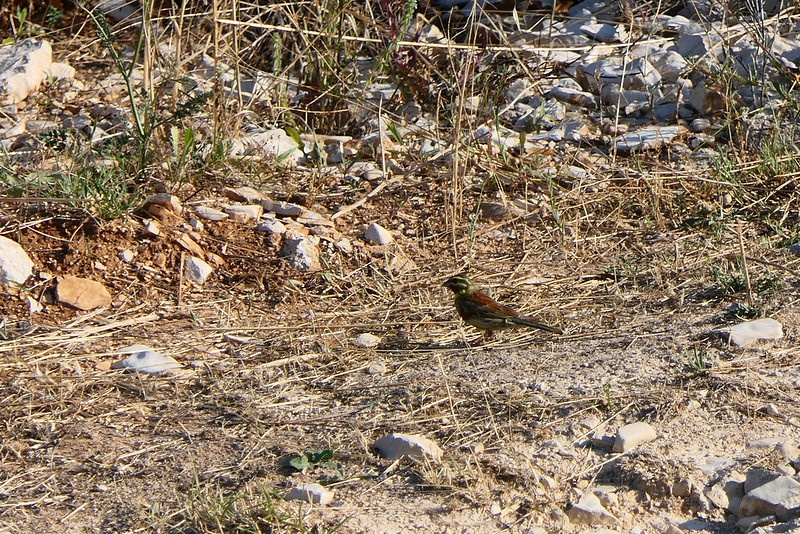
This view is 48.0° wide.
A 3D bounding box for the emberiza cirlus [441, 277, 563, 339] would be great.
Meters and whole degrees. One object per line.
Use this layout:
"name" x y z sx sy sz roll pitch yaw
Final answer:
"emberiza cirlus" 0.665 0.279 5.613 0.790 0.355 0.216 7 16 34
